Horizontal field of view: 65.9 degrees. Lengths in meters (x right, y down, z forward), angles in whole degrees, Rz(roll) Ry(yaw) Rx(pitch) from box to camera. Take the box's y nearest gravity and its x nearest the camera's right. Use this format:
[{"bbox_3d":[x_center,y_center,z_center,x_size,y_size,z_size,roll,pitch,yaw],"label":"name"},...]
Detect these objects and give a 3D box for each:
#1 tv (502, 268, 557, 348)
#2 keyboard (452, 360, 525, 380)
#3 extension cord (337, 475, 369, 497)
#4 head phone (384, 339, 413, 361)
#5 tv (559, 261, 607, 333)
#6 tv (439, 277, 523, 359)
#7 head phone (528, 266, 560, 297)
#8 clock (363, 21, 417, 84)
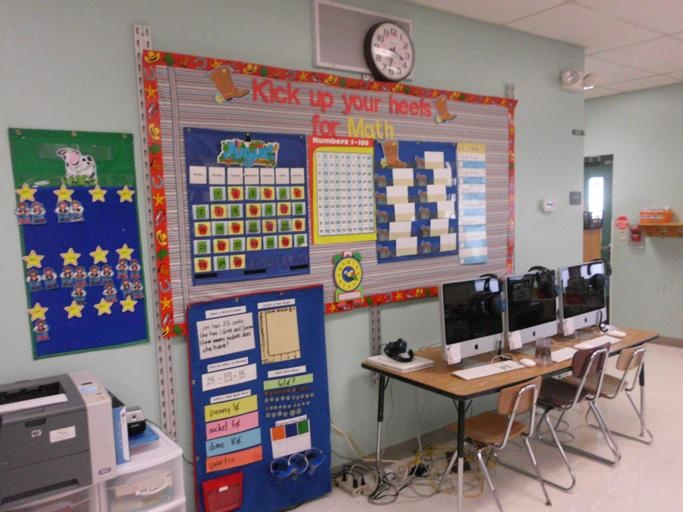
[{"bbox_3d":[1.394,0.395,3.908,0.504,0.518,0.173,-14,11,-38],"label":"tv"},{"bbox_3d":[1.008,0.769,3.580,0.551,0.036,0.154,-8,14,-28],"label":"keyboard"},{"bbox_3d":[0.098,1.592,3.672,0.138,0.043,0.133,-4,7,-45],"label":"extension cord"},{"bbox_3d":[0.410,0.659,3.718,0.132,0.107,0.173,-21,31,-38],"label":"head phone"},{"bbox_3d":[1.937,0.336,4.240,0.531,0.404,0.148,-8,7,-36],"label":"tv"},{"bbox_3d":[0.969,0.425,3.668,0.512,0.530,0.215,-7,8,-32],"label":"tv"},{"bbox_3d":[1.530,0.202,3.996,0.074,0.177,0.176,-26,-8,-20],"label":"head phone"},{"bbox_3d":[0.355,-1.505,3.880,0.418,0.436,0.103,-10,15,-36],"label":"clock"}]
